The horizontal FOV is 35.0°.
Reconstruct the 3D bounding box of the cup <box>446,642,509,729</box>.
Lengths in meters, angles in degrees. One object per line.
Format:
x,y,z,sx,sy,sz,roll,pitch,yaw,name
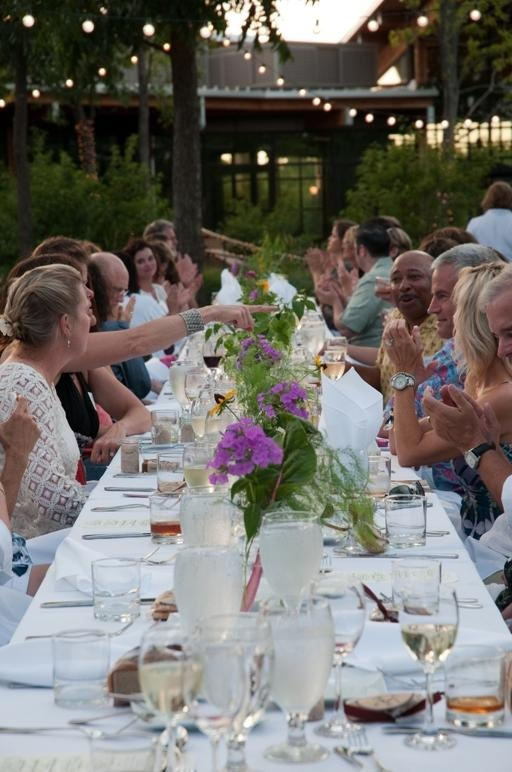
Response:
0.236,0.345,0.950,0.087,0.086,0.086,0,-2,0,cup

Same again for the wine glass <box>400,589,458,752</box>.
0.195,0.313,0.915,0.064,0.157,0.154,0,6,10,wine glass

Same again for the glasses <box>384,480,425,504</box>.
0.354,0.240,1.872,0.065,0.036,0.098,-1,4,5,glasses

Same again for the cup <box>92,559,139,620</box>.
-0.215,0.314,1.249,0.090,0.096,0.091,0,-3,0,cup

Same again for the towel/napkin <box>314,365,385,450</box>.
0.250,0.038,2.017,0.204,0.262,0.209,1,6,21,towel/napkin

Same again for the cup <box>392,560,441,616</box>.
0.189,0.239,0.967,0.062,0.056,0.060,0,-5,0,cup

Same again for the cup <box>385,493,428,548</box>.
0.308,0.283,1.709,0.103,0.108,0.099,1,0,0,cup
